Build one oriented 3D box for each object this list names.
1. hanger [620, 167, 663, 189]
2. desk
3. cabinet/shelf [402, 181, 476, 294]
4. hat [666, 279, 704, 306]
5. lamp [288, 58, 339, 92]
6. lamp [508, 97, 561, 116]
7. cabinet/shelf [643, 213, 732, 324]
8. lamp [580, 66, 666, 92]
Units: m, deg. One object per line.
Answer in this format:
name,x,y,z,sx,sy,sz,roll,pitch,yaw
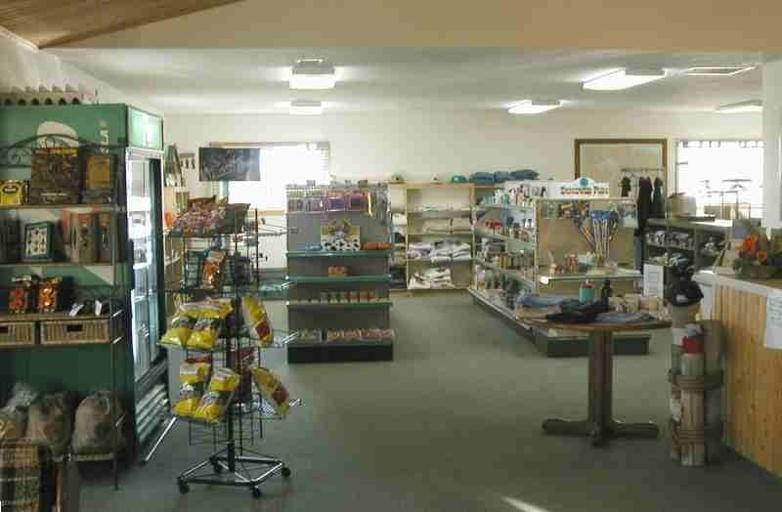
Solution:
hanger,3.441,-1.140,8.664,0.432,0.245,0.430,1,10,12
desk,1.685,1.007,5.598,1.227,0.954,1.159,1,1,-3
cabinet/shelf,0.767,-0.353,10.486,1.285,1.716,0.838,0,10,5
hat,2.465,0.325,5.398,0.309,0.206,0.267,-3,-23,12
lamp,-0.722,-1.690,5.832,0.397,0.235,0.339,-2,10,-8
lamp,1.811,-1.855,7.867,0.504,0.203,0.670,-5,11,-21
cabinet/shelf,3.286,0.101,6.973,0.401,1.082,1.230,2,5,2
lamp,2.415,-1.833,6.480,0.410,0.159,1.102,-5,11,-21
